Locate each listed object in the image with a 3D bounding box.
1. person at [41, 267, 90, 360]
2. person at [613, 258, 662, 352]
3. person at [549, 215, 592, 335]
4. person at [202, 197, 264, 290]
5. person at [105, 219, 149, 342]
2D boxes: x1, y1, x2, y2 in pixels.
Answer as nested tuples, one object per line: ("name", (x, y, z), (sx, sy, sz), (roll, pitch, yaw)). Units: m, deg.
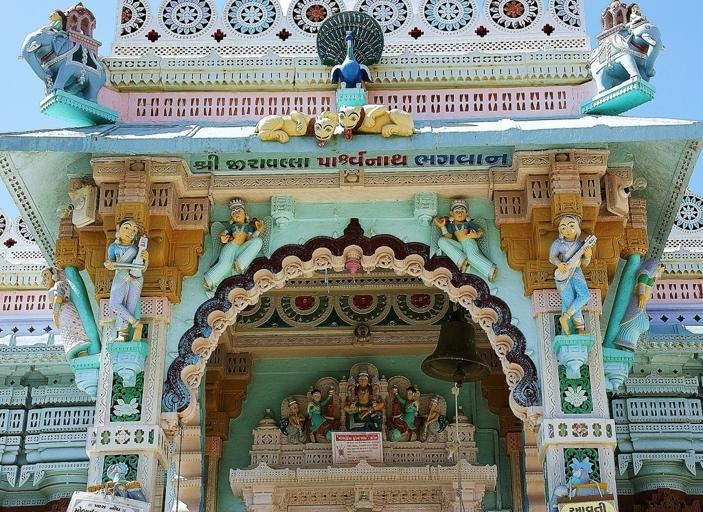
("person", (-2.885, 0.596, 11.335), (0.336, 1.045, 0.370), (1, -50, -28))
("person", (2.950, 0.507, 11.470), (0.383, 1.216, 0.411), (18, -28, 8))
("person", (2.164, 0.176, 10.674), (0.443, 1.095, 0.439), (-6, -27, 10))
("person", (-1.125, -0.083, 10.934), (0.551, 0.866, 0.291), (10, -7, 0))
("person", (-2.154, 0.235, 10.663), (0.391, 1.122, 0.467), (4, -27, -11))
